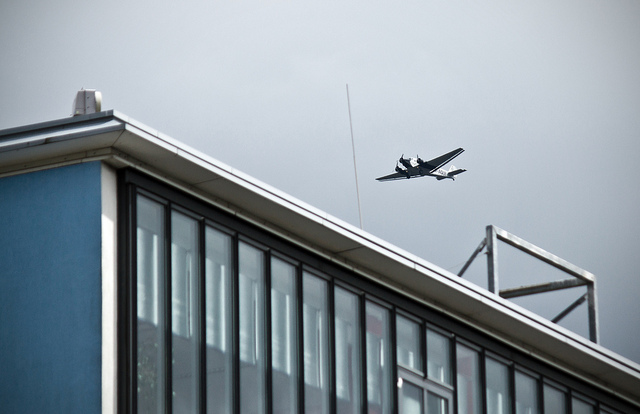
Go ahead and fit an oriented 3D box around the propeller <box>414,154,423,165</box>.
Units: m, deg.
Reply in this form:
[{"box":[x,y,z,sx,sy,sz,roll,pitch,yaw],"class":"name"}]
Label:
[{"box":[3.904,-1.682,63.024,0.189,0.200,0.543,10,-25,-26],"class":"propeller"}]
